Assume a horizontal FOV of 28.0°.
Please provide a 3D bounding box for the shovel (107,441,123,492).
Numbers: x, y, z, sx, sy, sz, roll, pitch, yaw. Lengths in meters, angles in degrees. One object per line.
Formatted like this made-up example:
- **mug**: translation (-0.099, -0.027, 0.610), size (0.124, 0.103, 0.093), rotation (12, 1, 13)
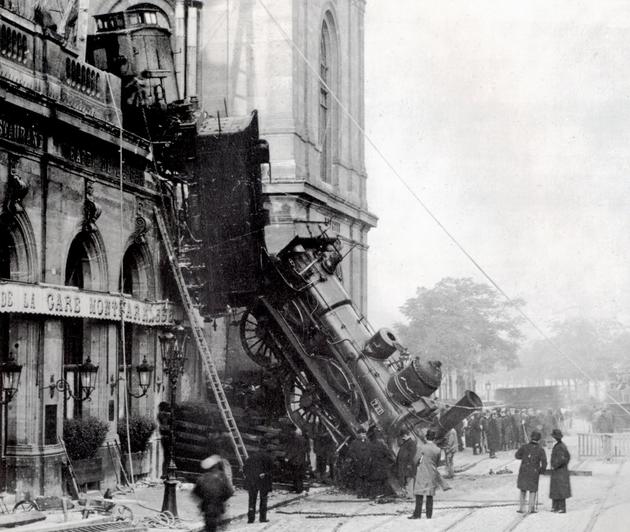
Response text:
- **shovel**: translation (-4.745, 4.702, 30.154), size (0.204, 1.180, 0.616), rotation (-6, -14, 6)

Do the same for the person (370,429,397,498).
- **person**: translation (1.651, 4.876, 30.537), size (0.531, 1.364, 0.392), rotation (-4, -6, 17)

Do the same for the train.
- **train**: translation (-1.529, -0.253, 38.271), size (11.859, 17.891, 8.453), rotation (-5, -7, -5)

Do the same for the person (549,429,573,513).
- **person**: translation (5.488, 4.554, 28.169), size (0.505, 1.695, 0.625), rotation (-1, -7, 15)

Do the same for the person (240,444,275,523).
- **person**: translation (-1.230, 4.700, 26.941), size (0.642, 1.430, 0.630), rotation (1, -6, -7)

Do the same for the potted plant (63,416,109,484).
- **potted plant**: translation (-5.455, 4.493, 29.369), size (1.136, 1.867, 1.775), rotation (-2, -1, 1)
